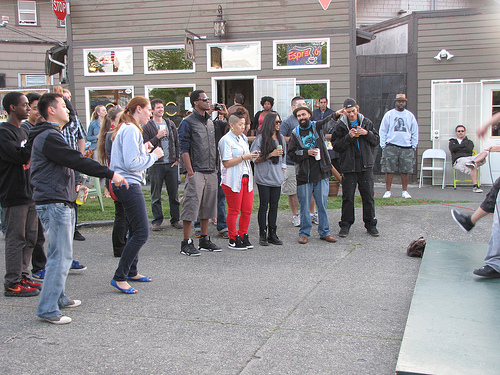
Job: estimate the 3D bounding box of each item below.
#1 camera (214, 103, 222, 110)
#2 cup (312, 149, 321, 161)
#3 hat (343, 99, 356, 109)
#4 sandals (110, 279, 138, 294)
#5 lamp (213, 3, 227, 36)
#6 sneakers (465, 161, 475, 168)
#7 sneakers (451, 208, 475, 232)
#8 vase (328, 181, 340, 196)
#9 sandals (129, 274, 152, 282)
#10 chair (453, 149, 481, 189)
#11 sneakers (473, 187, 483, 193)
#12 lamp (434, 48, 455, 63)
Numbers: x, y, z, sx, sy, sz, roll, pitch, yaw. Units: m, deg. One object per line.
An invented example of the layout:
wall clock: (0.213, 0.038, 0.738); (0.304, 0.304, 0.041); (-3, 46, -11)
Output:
camera: (-0.514, -1.271, 7.420); (0.131, 0.138, 0.111); (-3, 15, -36)
cup: (1.033, -0.487, 7.094); (0.098, 0.179, 0.218); (4, 11, 20)
hat: (1.576, -1.303, 7.332); (0.173, 0.146, 0.239); (-17, 17, 5)
sandals: (-1.380, 1.121, 5.200); (0.343, 0.130, 0.133); (5, 4, 13)
lamp: (-0.840, -4.542, 12.786); (0.377, 0.864, 0.370); (0, 10, 2)
sneakers: (5.210, -0.519, 10.990); (0.152, 0.124, 0.342); (-41, -6, 7)
sneakers: (2.644, 0.408, 5.868); (0.168, 0.374, 0.162); (-45, -17, 19)
vase: (1.845, 0.040, 10.091); (0.361, 0.257, 0.350); (-3, 12, -7)
sandals: (-1.294, 1.083, 5.559); (0.294, 0.110, 0.097); (1, 4, -5)
chair: (5.574, -0.487, 11.932); (0.795, 1.067, 0.889); (2, 1, 44)
sneakers: (5.506, 0.069, 11.211); (0.103, 0.104, 0.273); (0, 7, 6)
lamp: (5.235, -3.529, 12.536); (0.534, 0.297, 0.144); (3, 10, 15)
